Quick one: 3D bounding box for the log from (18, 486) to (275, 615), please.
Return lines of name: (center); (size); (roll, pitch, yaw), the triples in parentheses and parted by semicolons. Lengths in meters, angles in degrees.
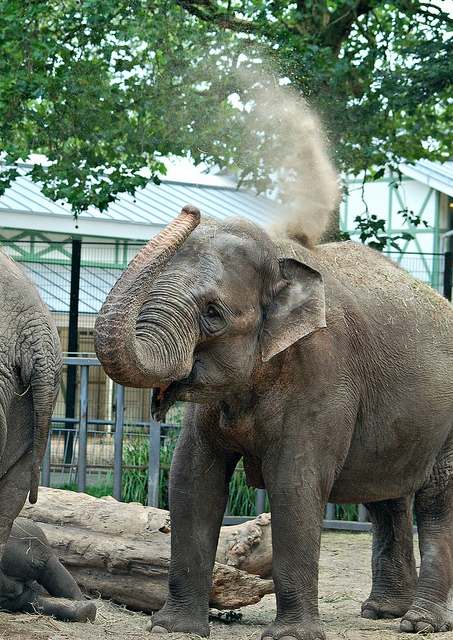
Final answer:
log: (-0.452, 1.166, 5.257); (1.406, 0.324, 0.717); (10, 14, 19)
